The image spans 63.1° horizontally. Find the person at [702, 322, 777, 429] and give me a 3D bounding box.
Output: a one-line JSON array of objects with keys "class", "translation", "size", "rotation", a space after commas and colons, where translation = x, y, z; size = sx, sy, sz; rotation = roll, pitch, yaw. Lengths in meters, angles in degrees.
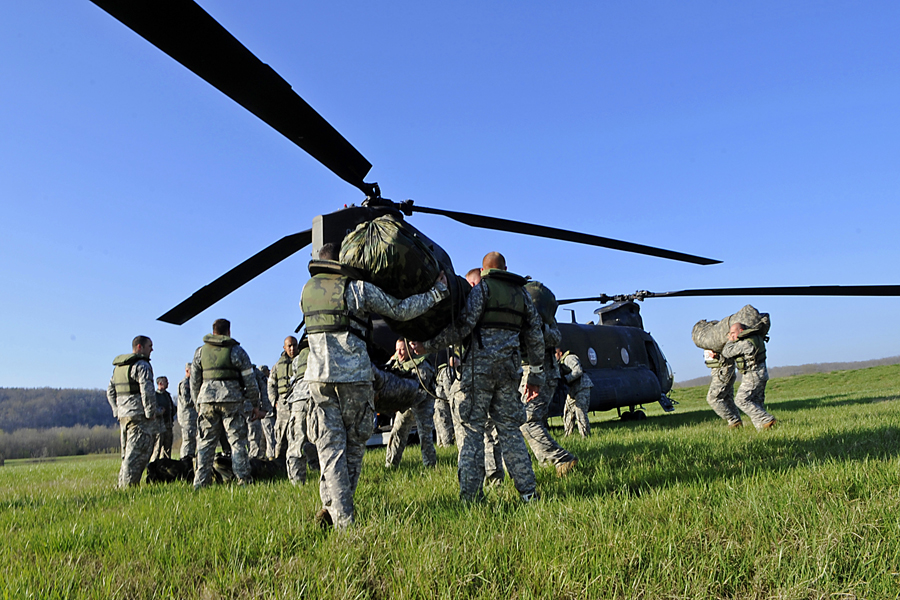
[{"class": "person", "translation": [4.869, 1.284, 12.320], "size": [1.057, 1.763, 1.066], "rotation": [-2, 1, 21]}]
